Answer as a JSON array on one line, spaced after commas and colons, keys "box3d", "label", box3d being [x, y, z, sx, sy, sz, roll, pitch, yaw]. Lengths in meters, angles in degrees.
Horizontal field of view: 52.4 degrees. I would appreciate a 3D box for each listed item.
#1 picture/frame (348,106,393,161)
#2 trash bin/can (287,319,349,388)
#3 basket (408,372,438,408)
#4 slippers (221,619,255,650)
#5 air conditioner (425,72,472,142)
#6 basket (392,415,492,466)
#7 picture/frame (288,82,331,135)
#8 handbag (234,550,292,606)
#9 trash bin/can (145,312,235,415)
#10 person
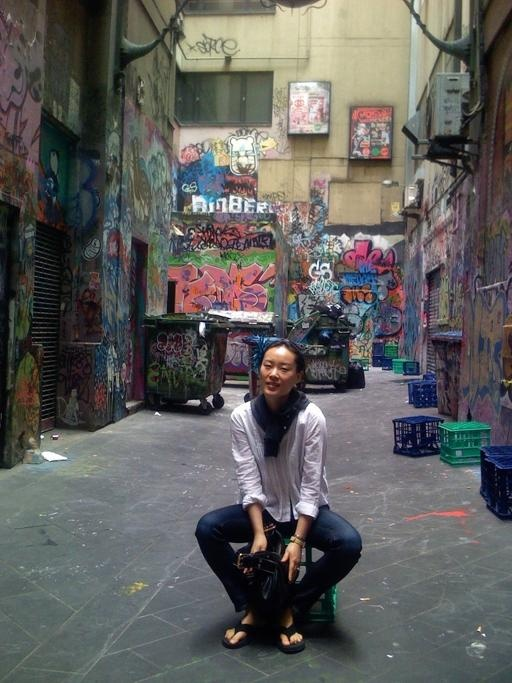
[{"box3d": [5.739, -10.498, 26.058, 2.140, 2.646, 0.246, 1, -2, 5], "label": "picture/frame"}, {"box3d": [1.832, 0.173, 14.844, 1.400, 2.289, 2.273, -1, 2, 6], "label": "trash bin/can"}, {"box3d": [3.573, 1.106, 11.016, 0.631, 0.563, 0.591, 2, -2, -8], "label": "basket"}, {"box3d": [-0.058, 1.163, 2.080, 0.085, 0.069, 0.211, 0, -3, 29], "label": "slippers"}, {"box3d": [3.222, -3.953, 8.625, 0.568, 1.268, 0.530, 1, -2, 25], "label": "air conditioner"}, {"box3d": [2.221, 1.193, 6.412, 0.650, 0.482, 1.144, 3, -2, -25], "label": "basket"}, {"box3d": [2.646, -11.822, 26.158, 2.080, 2.698, 0.279, 1, -2, 5], "label": "picture/frame"}, {"box3d": [0.032, 0.925, 2.021, 0.195, 0.228, 0.089, 1, -2, 15], "label": "handbag"}, {"box3d": [-1.279, 0.204, 10.134, 1.343, 2.093, 1.433, 2, 6, 7], "label": "trash bin/can"}, {"box3d": [0.085, 0.629, 2.312, 0.670, 1.285, 0.735, 3, 5, 8], "label": "person"}]
